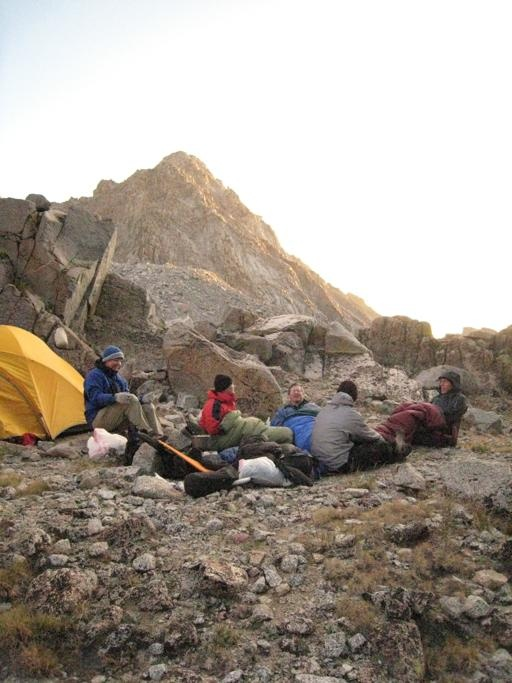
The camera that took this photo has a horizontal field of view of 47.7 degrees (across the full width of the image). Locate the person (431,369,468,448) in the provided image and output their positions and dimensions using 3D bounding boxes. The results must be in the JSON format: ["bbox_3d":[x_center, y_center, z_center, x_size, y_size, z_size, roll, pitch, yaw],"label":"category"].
[{"bbox_3d":[2.670,0.880,7.999,0.443,1.193,0.688,2,-24,16],"label":"person"}]

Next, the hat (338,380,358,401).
[{"bbox_3d":[1.142,0.638,7.173,0.221,0.261,0.270,-1,-41,8],"label":"hat"}]

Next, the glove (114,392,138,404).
[{"bbox_3d":[-1.607,0.696,7.133,0.161,0.084,0.206,2,-9,2],"label":"glove"}]

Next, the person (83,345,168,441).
[{"bbox_3d":[-1.682,0.656,7.423,1.044,1.114,0.552,0,-24,18],"label":"person"}]

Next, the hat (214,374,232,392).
[{"bbox_3d":[-0.417,0.504,7.304,0.233,0.185,0.175,-24,24,-36],"label":"hat"}]

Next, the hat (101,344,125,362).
[{"bbox_3d":[-1.903,0.168,7.570,0.271,0.228,0.245,9,-3,21],"label":"hat"}]
